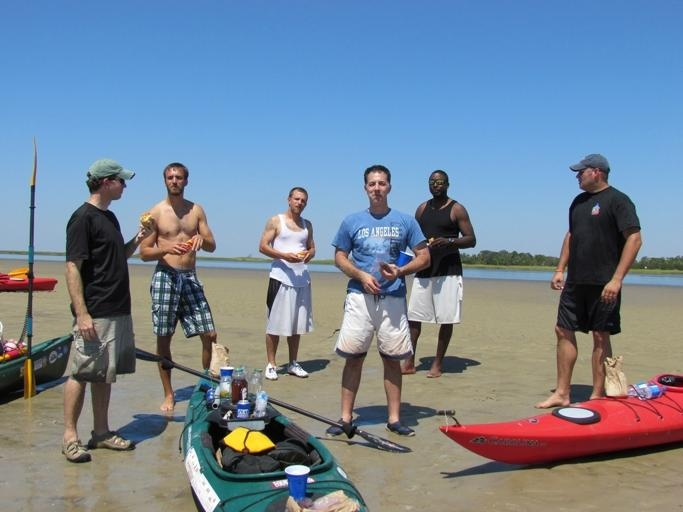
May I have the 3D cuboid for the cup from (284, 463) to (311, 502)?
[{"bbox_3d":[-0.319,1.644,4.799,0.199,0.205,0.209,-1,-3,0],"label":"cup"}]

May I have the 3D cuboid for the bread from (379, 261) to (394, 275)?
[{"bbox_3d":[0.469,0.121,6.937,0.120,0.120,0.094,34,2,-6],"label":"bread"}]

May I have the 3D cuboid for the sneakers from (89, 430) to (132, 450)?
[{"bbox_3d":[-2.312,1.867,6.679,0.415,0.165,0.177,1,-3,-1],"label":"sneakers"}]

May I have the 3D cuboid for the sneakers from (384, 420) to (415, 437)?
[{"bbox_3d":[0.639,1.859,7.123,0.275,0.093,0.131,0,1,42],"label":"sneakers"}]

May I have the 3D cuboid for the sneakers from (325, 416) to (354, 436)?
[{"bbox_3d":[0.022,1.752,6.790,0.181,0.171,0.404,-8,-12,38],"label":"sneakers"}]

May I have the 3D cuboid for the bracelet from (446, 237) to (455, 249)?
[{"bbox_3d":[1.573,-0.188,9.546,0.140,0.117,0.091,6,2,-45],"label":"bracelet"}]

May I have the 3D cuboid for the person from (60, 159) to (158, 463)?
[{"bbox_3d":[-2.334,0.509,6.455,0.742,2.892,0.723,0,5,-22],"label":"person"}]

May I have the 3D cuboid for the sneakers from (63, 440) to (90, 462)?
[{"bbox_3d":[-2.536,1.872,6.333,0.146,0.116,0.304,6,-7,-43],"label":"sneakers"}]

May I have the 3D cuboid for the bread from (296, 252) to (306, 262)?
[{"bbox_3d":[-0.573,0.005,9.454,0.042,0.115,0.121,3,1,-28],"label":"bread"}]

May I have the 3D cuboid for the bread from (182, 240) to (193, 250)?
[{"bbox_3d":[-1.823,-0.128,7.853,0.094,0.056,0.143,31,4,-4],"label":"bread"}]

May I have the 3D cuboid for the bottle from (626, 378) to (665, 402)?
[{"bbox_3d":[3.199,1.418,6.888,0.285,0.121,0.195,-2,-2,4],"label":"bottle"}]

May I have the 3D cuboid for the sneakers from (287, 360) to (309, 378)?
[{"bbox_3d":[-0.633,1.684,9.734,0.162,0.146,0.353,-3,3,-35],"label":"sneakers"}]

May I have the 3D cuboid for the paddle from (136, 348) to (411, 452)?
[{"bbox_3d":[-0.749,1.626,7.362,2.574,0.267,0.150,17,47,14],"label":"paddle"}]
